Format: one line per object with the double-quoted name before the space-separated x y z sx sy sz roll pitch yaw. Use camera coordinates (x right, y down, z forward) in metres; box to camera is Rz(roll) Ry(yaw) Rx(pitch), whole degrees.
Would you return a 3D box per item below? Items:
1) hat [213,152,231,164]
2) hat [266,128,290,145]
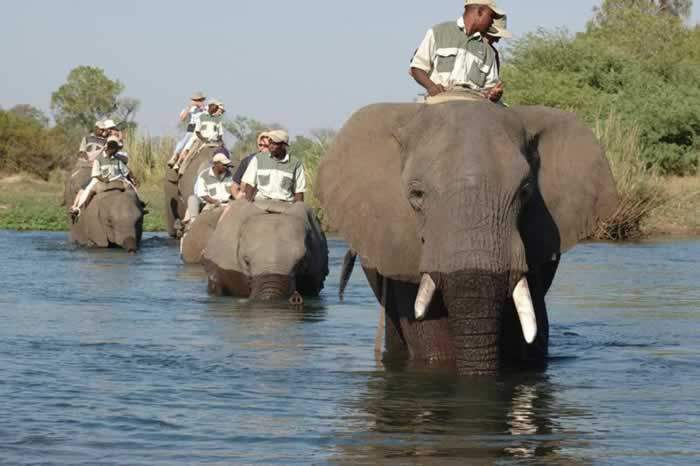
"hat" -2.332 -1.349 22.620 0.300 0.214 0.428 0 11 -6
"hat" -1.035 -1.421 18.140 0.281 0.239 0.632 0 11 -4
